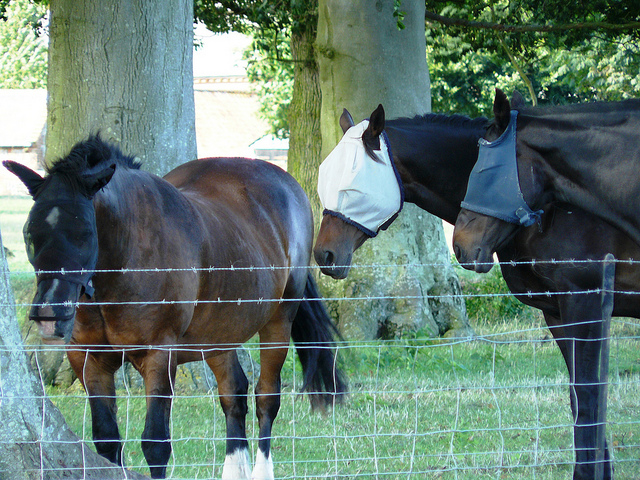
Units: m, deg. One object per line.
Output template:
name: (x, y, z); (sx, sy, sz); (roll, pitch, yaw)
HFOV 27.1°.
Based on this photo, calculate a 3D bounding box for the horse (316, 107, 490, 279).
horse: (1.110, -0.707, 14.426); (0.702, 1.615, 3.357); (16, 19, 38)
